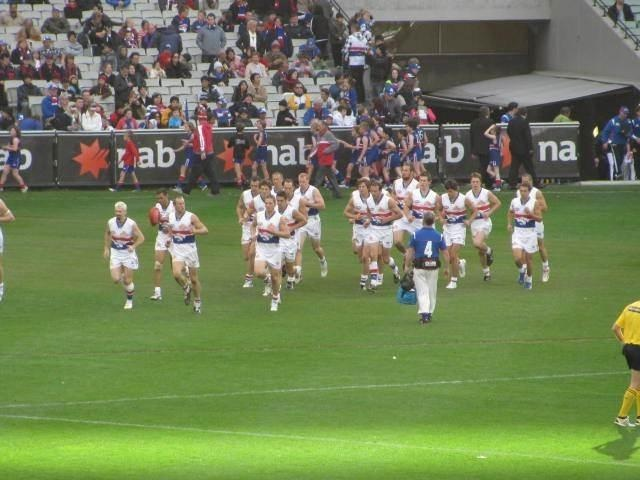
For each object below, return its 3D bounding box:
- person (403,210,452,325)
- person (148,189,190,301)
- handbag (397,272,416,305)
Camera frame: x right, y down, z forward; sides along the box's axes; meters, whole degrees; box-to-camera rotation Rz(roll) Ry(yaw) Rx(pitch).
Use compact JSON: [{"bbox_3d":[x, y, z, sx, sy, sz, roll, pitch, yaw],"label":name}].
[{"bbox_3d":[2.544,0.613,34.660,1.084,2.460,1.172,0,4,7],"label":"person"},{"bbox_3d":[-3.939,0.058,36.144,0.848,2.394,1.251,0,3,0],"label":"person"},{"bbox_3d":[2.042,1.132,34.645,0.432,0.793,1.082,-2,6,3],"label":"handbag"}]
